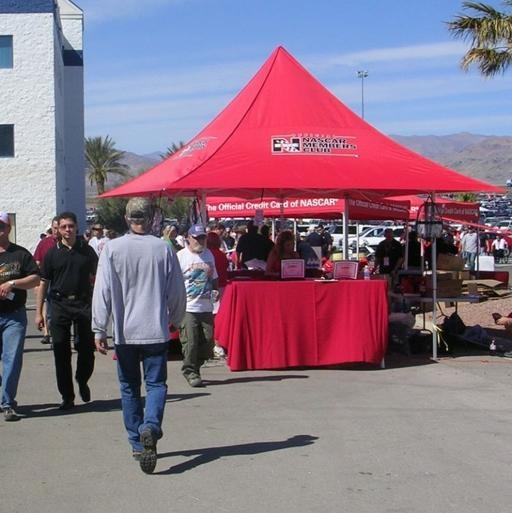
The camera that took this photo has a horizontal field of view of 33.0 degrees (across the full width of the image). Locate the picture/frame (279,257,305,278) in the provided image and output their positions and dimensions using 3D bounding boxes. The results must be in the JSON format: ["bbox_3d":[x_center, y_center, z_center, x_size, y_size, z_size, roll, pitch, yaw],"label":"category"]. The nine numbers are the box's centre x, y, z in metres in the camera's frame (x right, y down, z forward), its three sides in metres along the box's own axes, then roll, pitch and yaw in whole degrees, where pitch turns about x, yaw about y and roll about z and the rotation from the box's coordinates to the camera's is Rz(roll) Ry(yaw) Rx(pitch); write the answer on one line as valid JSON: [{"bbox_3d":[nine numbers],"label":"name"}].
[{"bbox_3d":[0.439,0.150,10.612,0.239,0.238,0.057,-1,5,-6],"label":"picture/frame"}]

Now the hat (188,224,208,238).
[{"bbox_3d":[-0.660,-0.276,9.712,0.195,0.143,0.296,0,3,-6],"label":"hat"}]

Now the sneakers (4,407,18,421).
[{"bbox_3d":[-2.206,1.431,7.839,0.133,0.110,0.226,-1,3,-17],"label":"sneakers"}]

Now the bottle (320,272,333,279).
[{"bbox_3d":[0.912,0.262,11.187,0.125,0.075,0.088,1,-5,34],"label":"bottle"}]

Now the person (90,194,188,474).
[{"bbox_3d":[-0.939,0.580,6.609,0.664,2.037,0.556,1,3,23],"label":"person"}]

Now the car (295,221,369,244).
[{"bbox_3d":[3.994,-0.786,45.597,3.252,1.596,1.647,-5,7,-14],"label":"car"}]

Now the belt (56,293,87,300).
[{"bbox_3d":[-1.751,0.398,8.270,0.254,0.063,0.086,-1,3,-18],"label":"belt"}]

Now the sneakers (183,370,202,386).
[{"bbox_3d":[-0.686,1.360,9.437,0.090,0.106,0.253,0,-4,-20],"label":"sneakers"}]

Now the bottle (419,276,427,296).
[{"bbox_3d":[2.226,0.398,11.679,0.069,0.207,0.143,12,-9,-35],"label":"bottle"}]

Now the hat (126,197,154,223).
[{"bbox_3d":[-0.923,-0.339,6.801,0.197,0.166,0.308,-7,20,-4],"label":"hat"}]

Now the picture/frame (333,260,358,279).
[{"bbox_3d":[1.082,0.153,10.628,0.241,0.245,0.067,-1,17,-3],"label":"picture/frame"}]

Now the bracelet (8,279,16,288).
[{"bbox_3d":[-2.208,0.256,7.873,0.056,0.056,0.060,10,44,15],"label":"bracelet"}]

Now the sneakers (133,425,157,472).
[{"bbox_3d":[-0.815,1.417,6.368,0.119,0.339,0.148,0,-6,8],"label":"sneakers"}]
